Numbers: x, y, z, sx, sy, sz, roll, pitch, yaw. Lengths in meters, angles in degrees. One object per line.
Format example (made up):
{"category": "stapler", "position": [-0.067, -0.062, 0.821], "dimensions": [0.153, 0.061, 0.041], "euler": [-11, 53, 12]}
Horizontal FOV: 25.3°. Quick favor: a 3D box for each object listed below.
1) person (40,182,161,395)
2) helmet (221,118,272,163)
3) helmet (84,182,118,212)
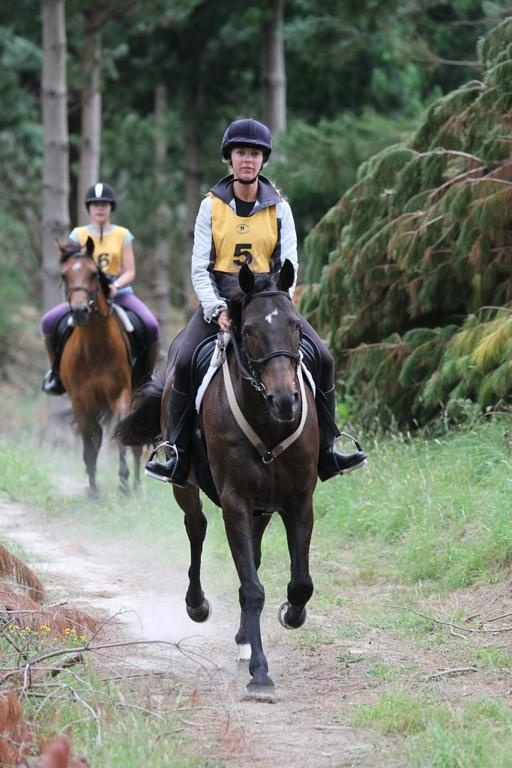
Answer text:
{"category": "person", "position": [-1.580, -1.002, 11.733], "dimensions": [1.241, 2.156, 1.164], "euler": [-1, 10, 4]}
{"category": "helmet", "position": [-0.055, -1.527, 7.045], "dimensions": [0.304, 0.265, 0.285], "euler": [1, 6, -2]}
{"category": "helmet", "position": [-1.518, -1.865, 11.218], "dimensions": [0.296, 0.249, 0.331], "euler": [1, 6, -8]}
